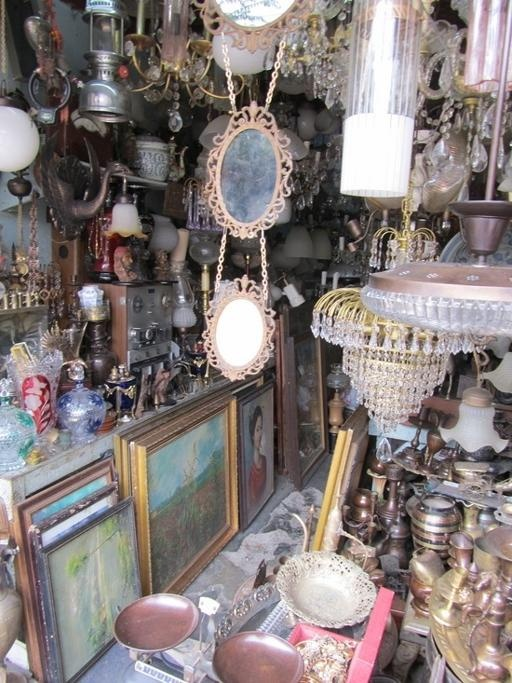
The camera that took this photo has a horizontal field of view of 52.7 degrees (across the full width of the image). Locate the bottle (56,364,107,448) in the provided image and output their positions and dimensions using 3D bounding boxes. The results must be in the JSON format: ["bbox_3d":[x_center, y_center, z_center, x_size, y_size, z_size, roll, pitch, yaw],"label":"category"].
[{"bbox_3d":[-0.658,0.236,1.955,0.171,0.291,0.135,0,4,-20],"label":"bottle"}]

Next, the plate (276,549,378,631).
[{"bbox_3d":[0.197,0.692,1.439,0.272,0.085,0.274,3,4,12],"label":"plate"}]

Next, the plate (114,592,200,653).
[{"bbox_3d":[-0.263,0.739,1.330,0.228,0.224,0.034,-1,31,-1],"label":"plate"}]

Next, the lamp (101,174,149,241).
[{"bbox_3d":[-0.560,-0.576,2.225,0.160,0.258,0.133,1,4,-15],"label":"lamp"}]
